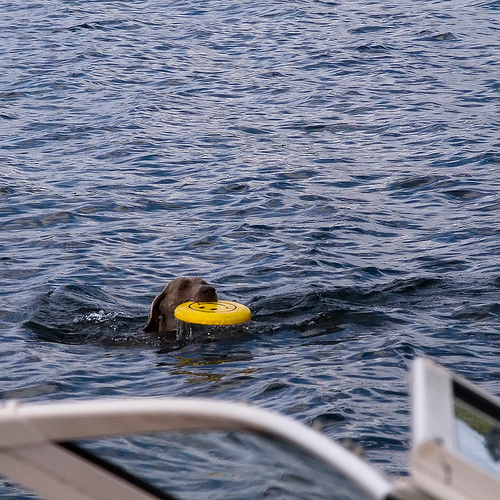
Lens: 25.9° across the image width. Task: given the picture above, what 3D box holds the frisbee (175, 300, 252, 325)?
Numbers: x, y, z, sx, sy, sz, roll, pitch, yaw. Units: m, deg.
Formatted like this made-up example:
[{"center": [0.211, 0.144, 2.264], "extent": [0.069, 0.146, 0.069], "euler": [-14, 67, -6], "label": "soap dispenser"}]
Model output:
[{"center": [-0.283, 0.491, 8.513], "extent": [0.593, 0.163, 0.501], "euler": [-5, 8, -22], "label": "frisbee"}]

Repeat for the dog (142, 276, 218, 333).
[{"center": [-0.477, 0.459, 8.880], "extent": [0.756, 0.373, 0.882], "euler": [3, -14, -16], "label": "dog"}]
